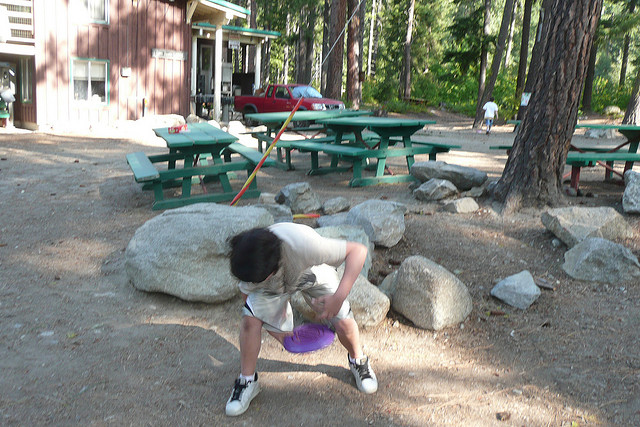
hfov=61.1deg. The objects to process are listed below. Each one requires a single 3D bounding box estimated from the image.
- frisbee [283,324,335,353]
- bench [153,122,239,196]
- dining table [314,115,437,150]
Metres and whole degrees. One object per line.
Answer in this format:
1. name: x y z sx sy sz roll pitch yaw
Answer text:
1. frisbee: -0.108 1.139 4.963 0.447 0.162 0.316 7 17 14
2. bench: -2.178 -0.919 9.481 1.118 1.003 1.906 -5 19 -25
3. dining table: 1.056 -1.615 10.674 1.049 0.562 1.943 -13 23 -41
